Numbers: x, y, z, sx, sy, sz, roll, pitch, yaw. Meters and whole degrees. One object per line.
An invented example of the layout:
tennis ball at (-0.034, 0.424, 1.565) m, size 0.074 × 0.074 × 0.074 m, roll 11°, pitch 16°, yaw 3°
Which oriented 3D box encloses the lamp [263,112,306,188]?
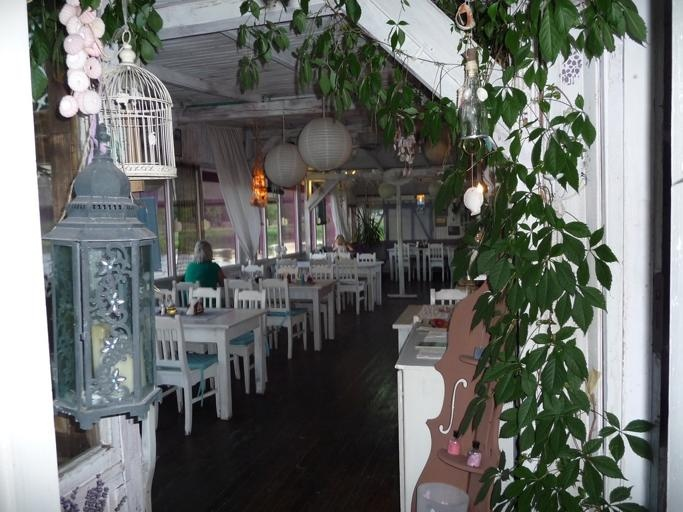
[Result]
lamp at (-0.620, -1.026, 6.290) m, size 0.462 × 0.482 × 0.474 m, roll -2°, pitch 6°, yaw -6°

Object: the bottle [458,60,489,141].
bottle at (0.490, -0.597, 2.128) m, size 0.103 × 0.321 × 0.194 m, roll 0°, pitch 6°, yaw 13°
